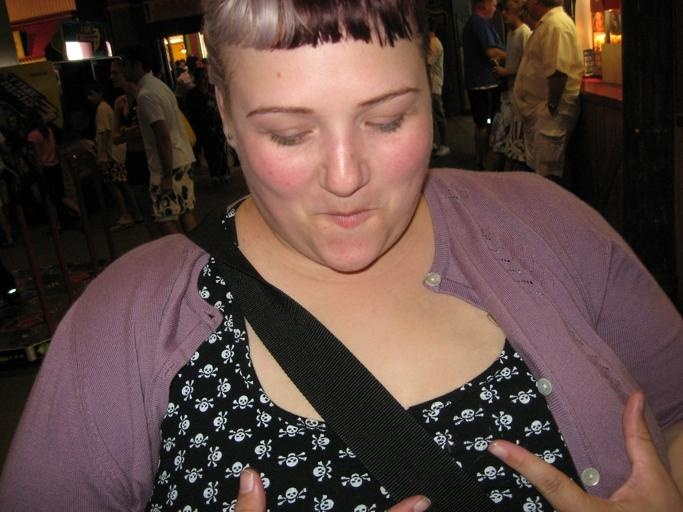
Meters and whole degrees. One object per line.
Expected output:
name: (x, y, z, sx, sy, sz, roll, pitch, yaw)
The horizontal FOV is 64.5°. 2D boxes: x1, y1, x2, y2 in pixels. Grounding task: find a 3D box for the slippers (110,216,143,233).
slippers: (-2.872, -0.407, 7.299, 0.454, 0.222, 0.155, -14, 24, -38)
